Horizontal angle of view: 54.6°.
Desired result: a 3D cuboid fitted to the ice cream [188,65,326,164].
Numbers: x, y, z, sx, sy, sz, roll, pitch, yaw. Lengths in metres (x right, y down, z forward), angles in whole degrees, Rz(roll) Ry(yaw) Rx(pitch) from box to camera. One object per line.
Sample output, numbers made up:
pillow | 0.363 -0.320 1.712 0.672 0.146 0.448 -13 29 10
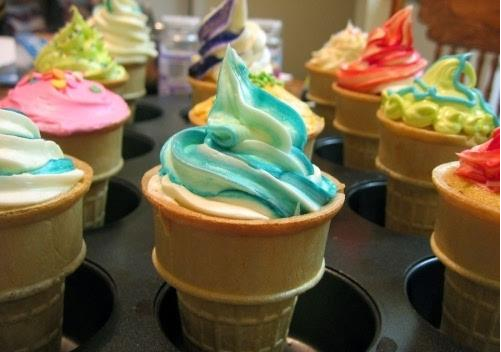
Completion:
ice cream | 0.043 -0.294 2.691 0.574 0.500 0.544 5 13 -7

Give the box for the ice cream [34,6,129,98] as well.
ice cream | -0.892 -0.658 2.750 0.470 0.446 0.476 10 14 4
